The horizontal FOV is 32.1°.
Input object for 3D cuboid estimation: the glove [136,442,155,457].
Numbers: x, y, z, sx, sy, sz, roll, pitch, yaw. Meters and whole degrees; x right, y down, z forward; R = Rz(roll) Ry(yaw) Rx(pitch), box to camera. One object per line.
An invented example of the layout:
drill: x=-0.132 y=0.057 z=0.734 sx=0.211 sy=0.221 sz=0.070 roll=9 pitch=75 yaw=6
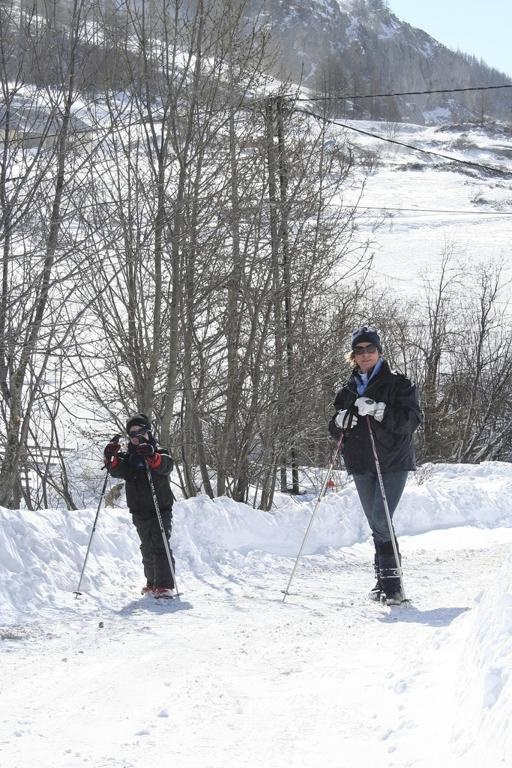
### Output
glove: x=-0.987 y=0.584 z=7.904 sx=0.159 sy=0.136 sz=0.225 roll=-2 pitch=-4 yaw=-8

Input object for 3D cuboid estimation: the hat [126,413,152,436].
hat: x=-1.074 y=0.382 z=8.094 sx=0.160 sy=0.225 sz=0.198 roll=-6 pitch=34 yaw=-2

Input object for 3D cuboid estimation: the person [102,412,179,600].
person: x=-1.002 y=1.074 z=8.028 sx=0.641 sy=1.602 sz=0.489 roll=-4 pitch=-4 yaw=26

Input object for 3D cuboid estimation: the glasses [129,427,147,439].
glasses: x=-1.072 y=0.442 z=8.000 sx=0.088 sy=0.070 sz=0.121 roll=-7 pitch=10 yaw=1

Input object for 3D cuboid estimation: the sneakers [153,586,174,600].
sneakers: x=-0.808 y=1.814 z=7.715 sx=0.125 sy=0.051 sz=0.095 roll=-1 pitch=4 yaw=7

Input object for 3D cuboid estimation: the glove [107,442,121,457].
glove: x=-1.284 y=0.580 z=8.003 sx=0.094 sy=0.130 sz=0.124 roll=26 pitch=0 yaw=10

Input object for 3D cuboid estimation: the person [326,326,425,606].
person: x=1.008 y=0.624 z=7.316 sx=0.546 sy=2.212 sz=0.854 roll=-1 pitch=-4 yaw=-28

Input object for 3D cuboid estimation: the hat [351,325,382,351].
hat: x=0.903 y=-0.390 z=7.400 sx=0.168 sy=0.196 sz=0.234 roll=1 pitch=8 yaw=6

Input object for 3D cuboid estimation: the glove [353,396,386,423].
glove: x=0.911 y=0.220 z=7.091 sx=0.196 sy=0.205 sz=0.087 roll=10 pitch=42 yaw=17

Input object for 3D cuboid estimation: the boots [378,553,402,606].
boots: x=1.030 y=1.515 z=6.954 sx=0.149 sy=0.371 sz=0.361 roll=-2 pitch=-4 yaw=-13
